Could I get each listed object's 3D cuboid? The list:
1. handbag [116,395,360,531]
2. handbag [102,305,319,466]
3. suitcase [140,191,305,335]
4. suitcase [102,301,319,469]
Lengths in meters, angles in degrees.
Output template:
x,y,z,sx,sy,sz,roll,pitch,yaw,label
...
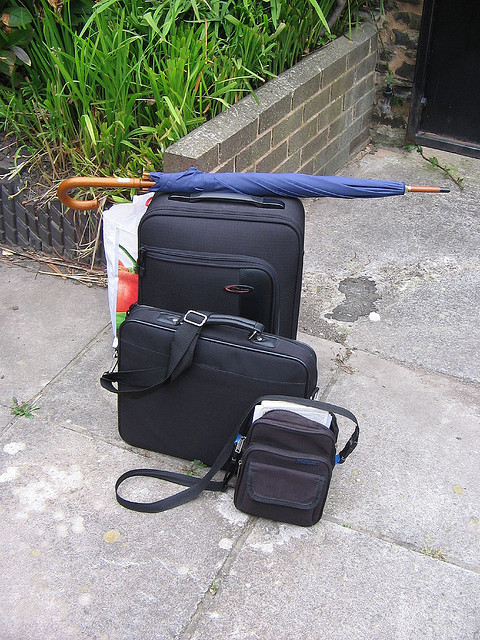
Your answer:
x,y,z,sx,sy,sz,roll,pitch,yaw,label
-0.011,0.390,1.619,0.766,0.297,0.383,0,-8,37,handbag
-0.095,0.206,1.588,0.554,0.425,0.162,11,24,8,handbag
-0.041,-0.118,1.765,0.528,0.535,0.297,7,26,14,suitcase
-0.081,0.186,1.528,0.462,0.372,0.163,12,41,7,suitcase
